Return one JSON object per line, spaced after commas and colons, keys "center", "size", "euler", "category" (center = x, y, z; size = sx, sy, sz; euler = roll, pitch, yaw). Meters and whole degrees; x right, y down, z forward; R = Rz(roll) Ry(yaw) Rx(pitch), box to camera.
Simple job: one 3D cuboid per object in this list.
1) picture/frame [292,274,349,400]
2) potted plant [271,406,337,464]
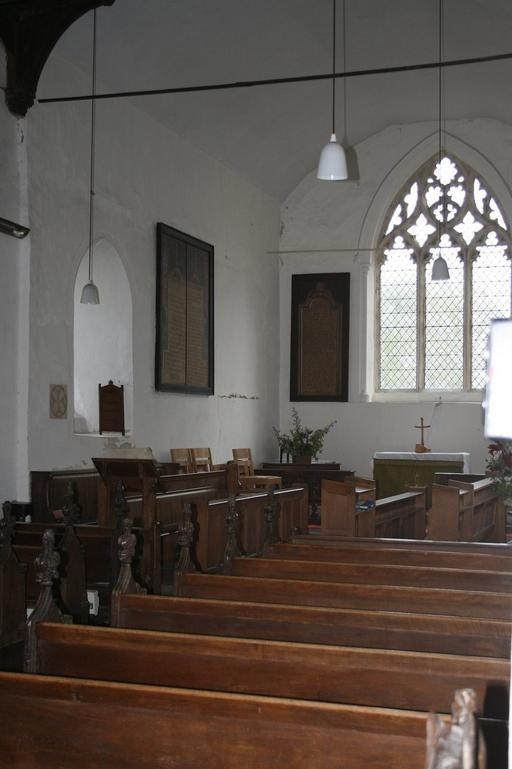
{"center": [1.178, -0.864, 13.348], "size": [1.105, 2.364, 0.115], "euler": [-1, -1, 20], "category": "picture/frame"}
{"center": [0.768, 0.971, 12.612], "size": [0.888, 1.148, 0.843], "euler": [1, 0, 33], "category": "potted plant"}
